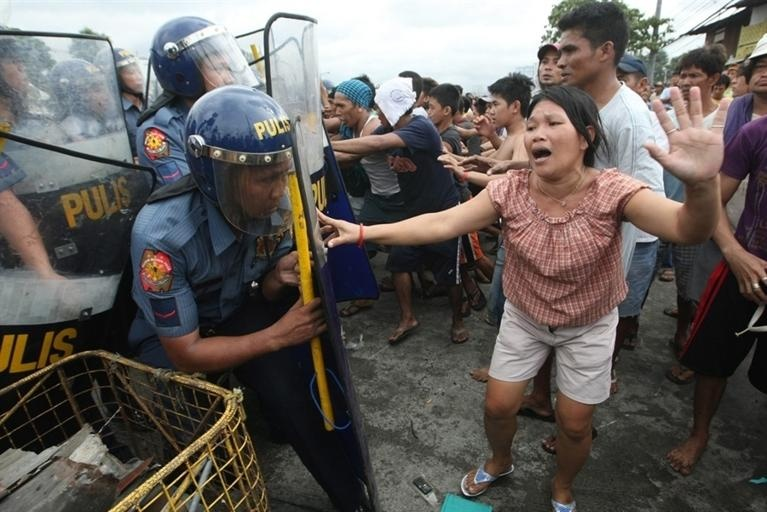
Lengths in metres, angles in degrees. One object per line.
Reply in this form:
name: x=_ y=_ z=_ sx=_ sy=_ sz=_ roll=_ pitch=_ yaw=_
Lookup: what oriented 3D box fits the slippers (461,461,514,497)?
slippers: x=0.642 y=1.381 z=3.079 sx=0.371 sy=0.098 sz=0.140 roll=-22 pitch=59 yaw=-9
